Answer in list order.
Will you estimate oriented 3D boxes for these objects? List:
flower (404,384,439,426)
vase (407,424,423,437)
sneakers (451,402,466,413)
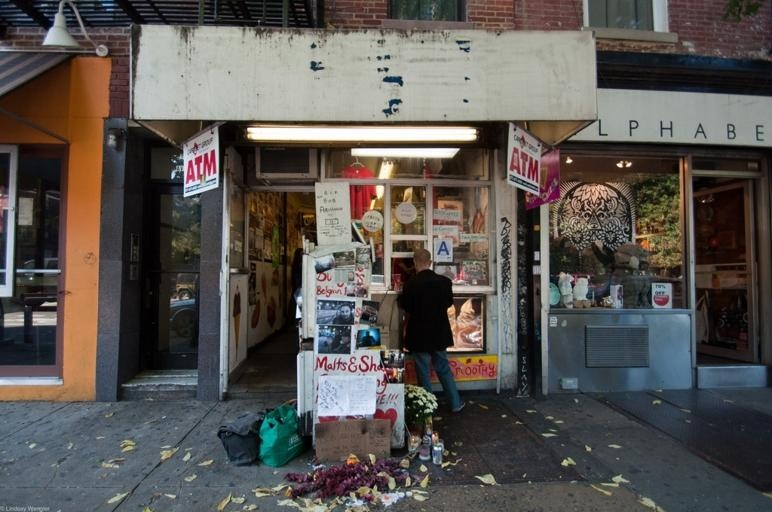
[{"bbox_3d":[0.444,2.124,9.290,0.504,0.507,0.475,1,-1,-34],"label":"flower"},{"bbox_3d":[0.398,2.471,9.154,0.177,0.136,0.183,0,-1,25],"label":"vase"},{"bbox_3d":[1.133,2.357,10.112,0.104,0.127,0.289,1,9,25],"label":"sneakers"}]
